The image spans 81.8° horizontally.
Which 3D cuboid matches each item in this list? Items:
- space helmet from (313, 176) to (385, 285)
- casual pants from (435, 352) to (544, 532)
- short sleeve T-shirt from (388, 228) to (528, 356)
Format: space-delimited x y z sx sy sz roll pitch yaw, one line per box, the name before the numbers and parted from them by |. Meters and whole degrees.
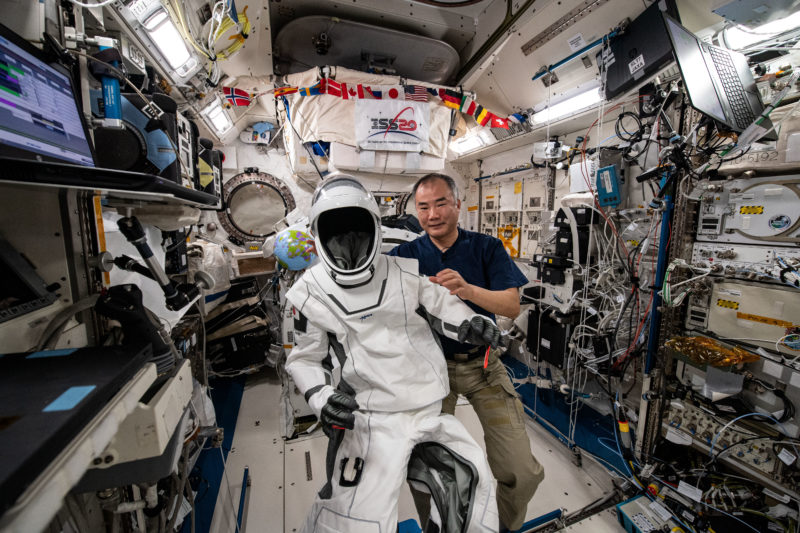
space helmet | -0.424 -0.350 3.692 0.649 0.846 0.899 -11 12 -6
casual pants | 0.811 1.265 3.952 0.819 1.514 0.459 -33 -31 26
short sleeve T-shirt | 0.430 0.194 3.771 1.333 1.097 0.415 -11 -9 -6
